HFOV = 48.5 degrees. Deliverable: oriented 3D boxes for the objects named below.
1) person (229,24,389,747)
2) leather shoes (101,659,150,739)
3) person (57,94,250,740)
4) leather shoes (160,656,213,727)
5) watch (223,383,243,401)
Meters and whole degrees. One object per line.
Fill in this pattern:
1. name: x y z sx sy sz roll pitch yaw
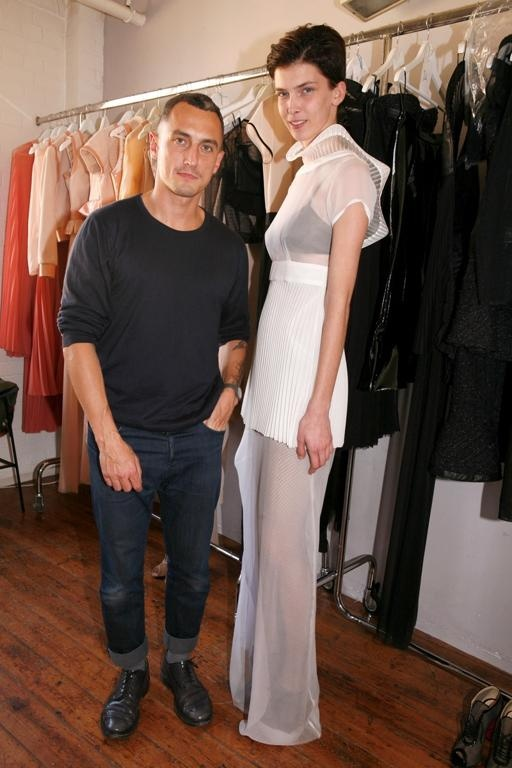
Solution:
1. person: 0.095 0.082 1.399 0.348 1.768 0.331 5 7 16
2. leather shoes: -0.351 0.858 1.559 0.080 0.104 0.238 4 6 3
3. person: -0.229 0.162 1.497 0.266 1.528 0.572 9 9 39
4. leather shoes: -0.200 0.859 1.593 0.076 0.096 0.205 -6 25 -26
5. watch: -0.059 0.026 1.625 0.053 0.021 0.040 16 -6 -40
